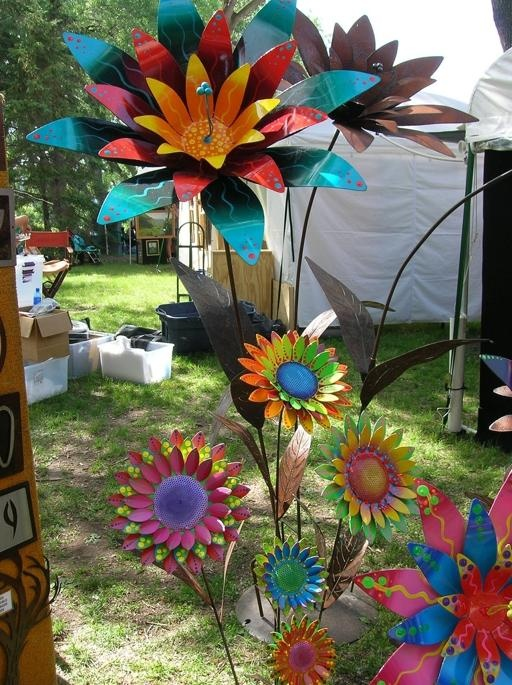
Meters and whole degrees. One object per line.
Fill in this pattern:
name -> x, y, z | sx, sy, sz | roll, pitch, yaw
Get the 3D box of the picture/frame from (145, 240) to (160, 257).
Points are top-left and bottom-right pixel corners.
picture/frame -> -3.120, -2.804, 16.090 | 0.479, 0.443, 0.460 | 3, -6, -18
